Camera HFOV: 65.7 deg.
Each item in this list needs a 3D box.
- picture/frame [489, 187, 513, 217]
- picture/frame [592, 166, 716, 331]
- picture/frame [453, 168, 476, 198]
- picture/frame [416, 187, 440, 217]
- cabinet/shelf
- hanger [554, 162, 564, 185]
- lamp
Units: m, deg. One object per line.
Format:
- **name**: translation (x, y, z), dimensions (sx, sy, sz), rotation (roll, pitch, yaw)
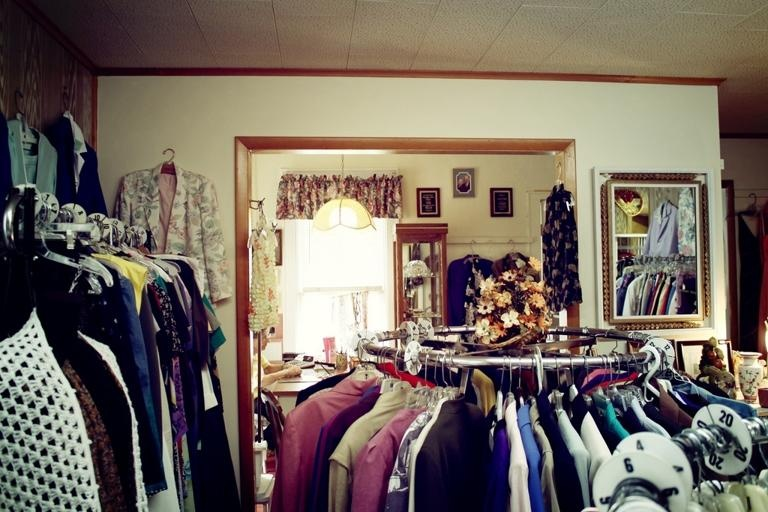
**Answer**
- **picture/frame**: translation (1.168, -0.544, 6.012), dimensions (0.269, 0.364, 0.029), rotation (1, -3, -4)
- **picture/frame**: translation (1.800, -0.037, 3.962), dimensions (0.780, 1.035, 0.123), rotation (0, 1, -11)
- **picture/frame**: translation (0.786, -0.735, 5.998), dimensions (0.290, 0.405, 0.029), rotation (0, -4, -6)
- **picture/frame**: translation (0.418, -0.546, 5.956), dimensions (0.279, 0.371, 0.036), rotation (0, -2, -5)
- **cabinet/shelf**: translation (0.343, 0.173, 5.663), dimensions (0.482, 0.969, 0.241), rotation (0, 1, 6)
- **hanger**: translation (1.190, -0.570, 4.052), dimensions (0.030, 0.148, 0.095), rotation (0, 1, -10)
- **lamp**: translation (-0.362, -0.460, 5.152), dimensions (0.391, 0.481, 0.452), rotation (0, 0, -3)
